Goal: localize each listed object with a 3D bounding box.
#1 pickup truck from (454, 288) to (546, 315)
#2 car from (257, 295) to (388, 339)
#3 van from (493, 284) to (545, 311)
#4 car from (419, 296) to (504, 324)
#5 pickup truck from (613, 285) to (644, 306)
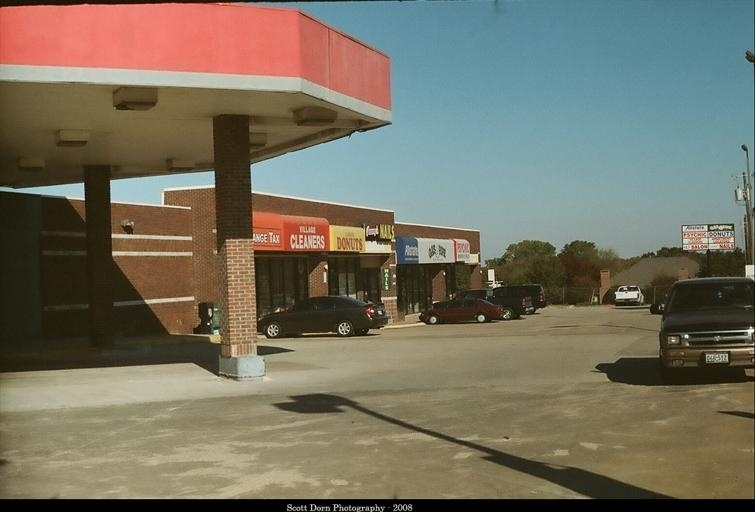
[{"bbox_3d":[7.574,2.504,46.269,4.201,1.474,2.242,1,-2,5],"label":"pickup truck"},{"bbox_3d":[-2.300,2.657,34.121,4.927,1.655,2.143,2,-5,4],"label":"car"},{"bbox_3d":[9.032,2.667,49.240,3.336,1.323,1.675,1,0,12],"label":"van"},{"bbox_3d":[4.655,3.036,42.729,3.731,1.206,1.654,1,-3,10],"label":"car"},{"bbox_3d":[20.984,3.295,64.203,1.956,1.573,2.963,0,3,23],"label":"pickup truck"}]
